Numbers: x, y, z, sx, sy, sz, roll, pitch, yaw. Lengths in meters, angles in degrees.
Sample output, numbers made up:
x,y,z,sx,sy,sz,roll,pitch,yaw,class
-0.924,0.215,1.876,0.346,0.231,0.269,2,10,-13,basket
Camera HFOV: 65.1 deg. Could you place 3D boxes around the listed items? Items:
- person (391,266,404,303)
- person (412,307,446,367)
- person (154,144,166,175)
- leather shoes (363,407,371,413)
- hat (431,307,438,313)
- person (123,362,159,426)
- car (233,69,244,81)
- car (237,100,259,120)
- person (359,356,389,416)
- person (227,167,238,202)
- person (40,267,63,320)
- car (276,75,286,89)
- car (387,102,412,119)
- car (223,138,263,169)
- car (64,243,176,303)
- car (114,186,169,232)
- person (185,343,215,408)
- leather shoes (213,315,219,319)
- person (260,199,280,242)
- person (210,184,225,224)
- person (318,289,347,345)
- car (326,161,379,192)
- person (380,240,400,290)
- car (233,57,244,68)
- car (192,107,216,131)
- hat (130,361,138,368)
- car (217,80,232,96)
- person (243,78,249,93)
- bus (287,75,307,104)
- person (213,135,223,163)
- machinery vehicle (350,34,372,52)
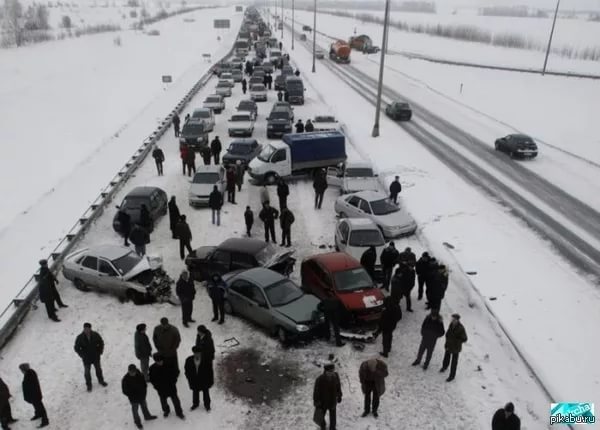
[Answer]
x,y,z,sx,sy,sz,roll,pitch,yaw,class
3.525,2.531,16.954,0.423,1.584,0.500,-8,40,-5,person
4.215,3.969,15.282,0.688,2.055,0.615,16,16,23,person
-8.454,-3.392,28.365,0.556,1.707,1.499,-9,28,-15,person
1.974,5.865,14.113,0.271,0.201,0.101,-4,35,-9,leather shoes
4.313,3.003,15.028,0.140,0.208,0.190,-15,46,1,hat
-4.738,5.106,13.780,0.676,2.087,0.697,-17,30,-30,person
-6.975,-15.936,53.699,0.777,0.754,1.806,0,39,-5,car
-4.165,-8.514,38.620,1.281,1.223,2.434,0,23,0,car
2.177,4.923,13.970,0.790,1.946,0.644,0,25,4,person
-3.559,-1.654,24.891,0.534,1.943,0.627,-6,26,-9,person
-9.012,2.811,16.962,0.512,1.852,0.779,-15,29,-26,person
-2.010,-14.085,49.916,0.973,0.972,1.853,0,28,1,car
8.495,-9.137,40.933,1.211,1.051,2.311,-4,33,3,car
-3.399,-4.135,29.116,1.334,1.189,2.577,3,33,13,car
-7.044,1.985,18.518,4.278,1.469,2.182,14,36,14,car
-7.525,-0.403,23.056,1.395,1.241,3.021,4,25,0,car
-3.002,4.783,14.032,0.780,2.091,0.608,2,15,8,person
-3.077,3.706,17.192,0.229,0.173,0.087,2,42,-1,leather shoes
-1.362,0.187,21.742,0.800,1.875,1.064,-3,26,-2,person
-4.017,-0.600,22.788,0.598,1.959,0.810,-8,26,-13,person
1.143,3.369,16.440,0.825,1.718,1.379,0,27,4,person
2.940,-2.124,25.441,1.489,1.277,2.756,-4,25,-5,car
3.610,1.890,18.351,0.670,2.114,0.590,7,26,29,person
-7.819,-19.259,59.474,1.133,0.999,2.862,-2,30,-3,car
-7.011,-7.072,35.004,1.226,1.112,2.716,-2,24,-4,car
-4.765,4.226,13.465,0.156,0.239,0.228,2,27,-8,hat
-7.411,-12.490,46.723,1.057,0.944,2.011,-1,34,-2,car
-5.425,-12.714,46.727,0.349,1.416,1.018,-9,27,-15,person
-0.398,-11.898,44.717,1.276,1.541,3.557,-2,33,0,bus
-5.057,-3.992,28.718,0.537,1.750,0.534,-4,25,-6,person
10.725,-29.648,82.535,2.599,1.487,4.091,3,33,8,machinery vehicle
